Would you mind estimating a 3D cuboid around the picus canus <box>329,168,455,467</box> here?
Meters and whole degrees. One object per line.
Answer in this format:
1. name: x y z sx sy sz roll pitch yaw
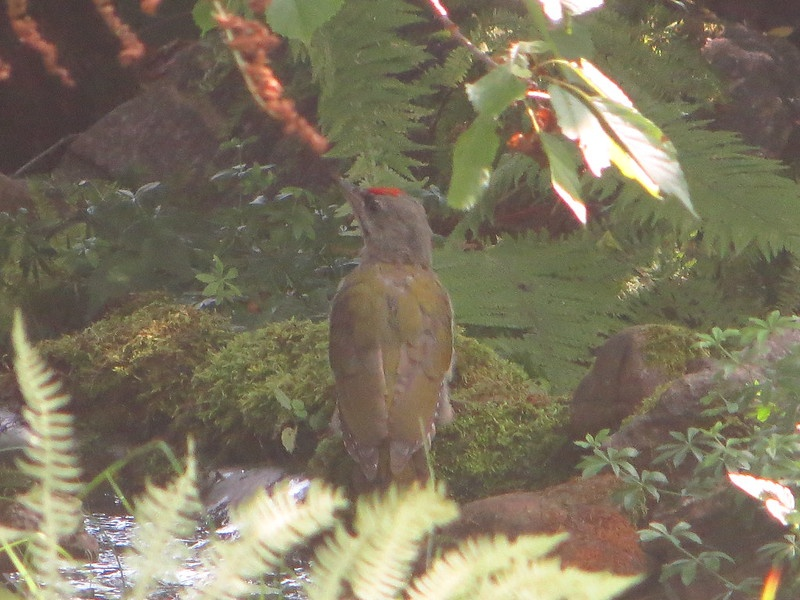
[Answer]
1. picus canus: -0.049 0.108 5.815 0.539 1.386 0.615 -6 -31 11
